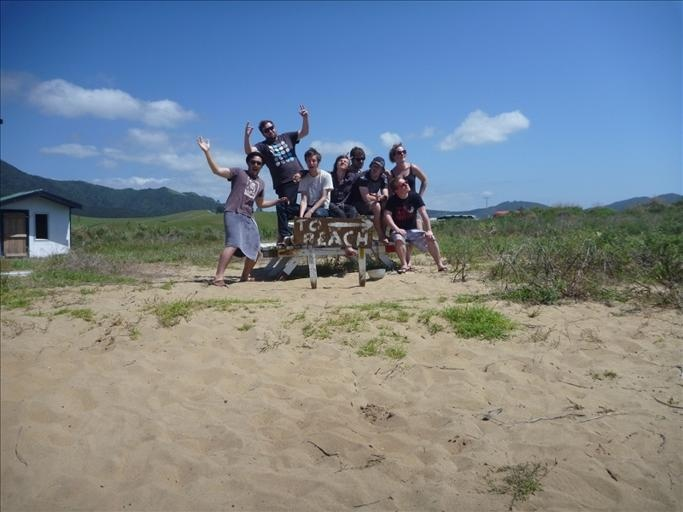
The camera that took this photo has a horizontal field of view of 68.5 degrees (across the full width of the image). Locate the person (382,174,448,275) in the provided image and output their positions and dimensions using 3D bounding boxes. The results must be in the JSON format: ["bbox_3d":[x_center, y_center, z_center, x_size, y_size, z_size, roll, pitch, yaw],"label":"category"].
[{"bbox_3d":[1.502,-0.684,10.759,1.206,2.024,1.071,1,14,8],"label":"person"}]

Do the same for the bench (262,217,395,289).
[{"bbox_3d":[-0.302,-0.316,10.621,2.056,1.312,1.525,-2,4,-5],"label":"bench"}]

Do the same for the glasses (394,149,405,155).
[{"bbox_3d":[1.313,-2.337,11.210,0.193,0.121,0.090,1,14,5],"label":"glasses"}]

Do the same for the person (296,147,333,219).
[{"bbox_3d":[-0.550,-1.524,10.379,0.687,1.372,0.696,-1,13,-4],"label":"person"}]

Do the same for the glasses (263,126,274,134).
[{"bbox_3d":[-1.507,-2.631,10.402,0.235,0.150,0.165,-3,14,-9],"label":"glasses"}]

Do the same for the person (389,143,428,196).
[{"bbox_3d":[1.419,-1.856,11.347,0.891,1.408,0.768,-8,9,16],"label":"person"}]

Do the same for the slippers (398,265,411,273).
[{"bbox_3d":[1.332,0.262,10.542,0.291,0.120,0.338,0,15,3],"label":"slippers"}]
